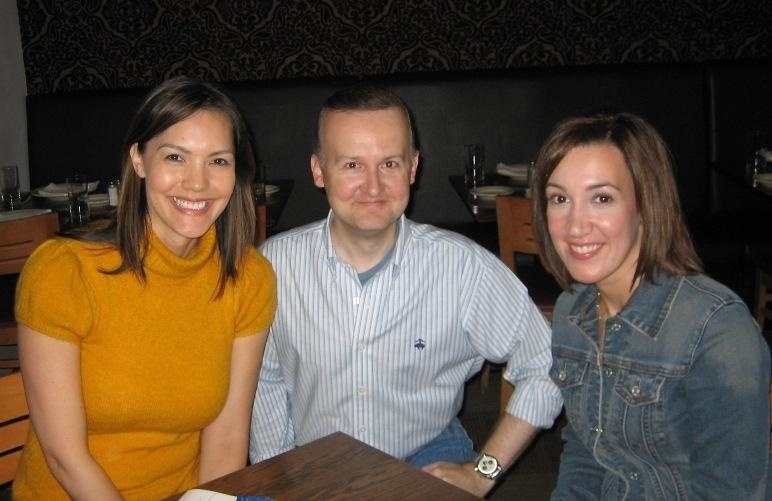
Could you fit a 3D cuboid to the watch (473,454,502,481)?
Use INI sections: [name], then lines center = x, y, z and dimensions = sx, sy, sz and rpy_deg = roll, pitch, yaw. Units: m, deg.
[watch]
center = 0.337, 0.729, 2.015
dimensions = 0.088, 0.026, 0.070
rpy_deg = 36, 62, 23
